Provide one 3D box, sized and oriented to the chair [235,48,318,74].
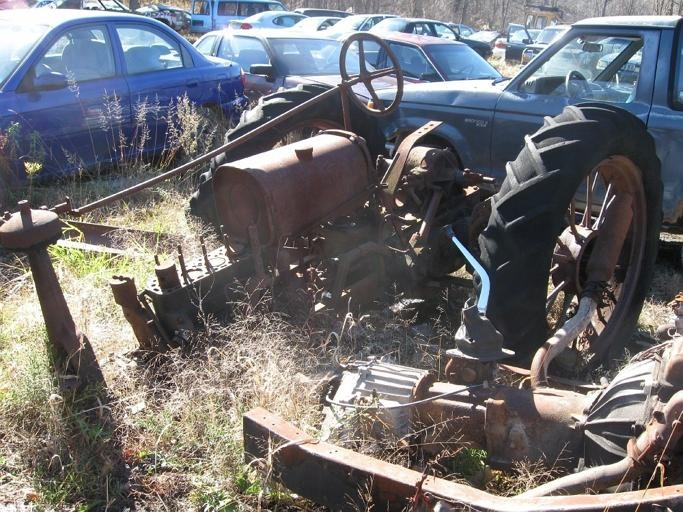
[{"bbox_3d":[-0.875,-2.691,7.412,0.815,0.410,0.609,9,40,16],"label":"chair"}]
